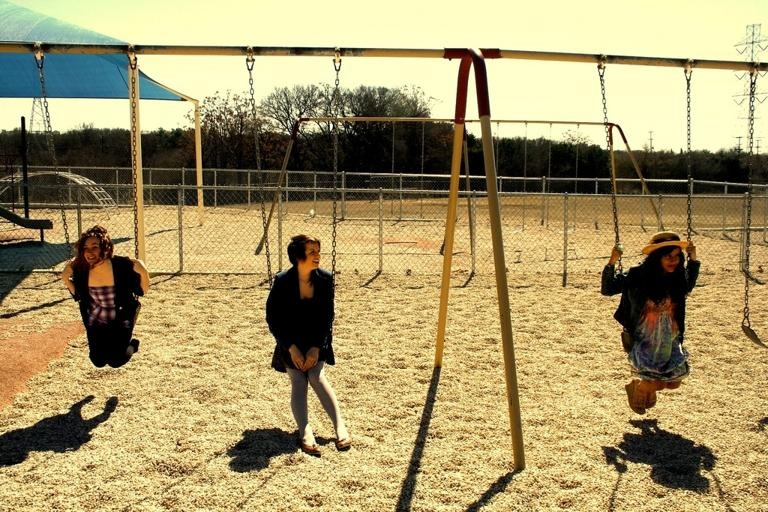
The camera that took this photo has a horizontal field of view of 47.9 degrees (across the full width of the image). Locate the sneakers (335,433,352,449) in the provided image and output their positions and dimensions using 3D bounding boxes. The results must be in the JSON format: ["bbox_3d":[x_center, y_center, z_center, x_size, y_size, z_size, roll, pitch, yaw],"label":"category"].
[{"bbox_3d":[-0.424,2.003,9.179,0.195,0.126,0.102,13,-20,-33],"label":"sneakers"}]

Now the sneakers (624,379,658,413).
[{"bbox_3d":[2.853,1.561,9.571,0.255,0.410,0.205,-2,18,21],"label":"sneakers"}]

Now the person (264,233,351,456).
[{"bbox_3d":[-0.815,0.940,9.258,0.897,2.288,0.631,0,7,-2],"label":"person"}]

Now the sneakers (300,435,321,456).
[{"bbox_3d":[-0.787,2.024,9.133,0.119,0.135,0.313,6,-6,-36],"label":"sneakers"}]

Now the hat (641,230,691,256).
[{"bbox_3d":[3.619,-0.149,11.049,0.557,0.208,0.596,-1,-13,3],"label":"hat"}]

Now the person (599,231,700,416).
[{"bbox_3d":[3.007,0.770,9.721,1.091,2.049,0.560,1,7,5],"label":"person"}]

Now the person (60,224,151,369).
[{"bbox_3d":[-3.159,0.466,9.802,0.912,1.578,0.329,-2,7,-17],"label":"person"}]

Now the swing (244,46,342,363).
[{"bbox_3d":[-1.472,-1.744,15.165,1.808,3.764,2.275,0,16,3],"label":"swing"}]
